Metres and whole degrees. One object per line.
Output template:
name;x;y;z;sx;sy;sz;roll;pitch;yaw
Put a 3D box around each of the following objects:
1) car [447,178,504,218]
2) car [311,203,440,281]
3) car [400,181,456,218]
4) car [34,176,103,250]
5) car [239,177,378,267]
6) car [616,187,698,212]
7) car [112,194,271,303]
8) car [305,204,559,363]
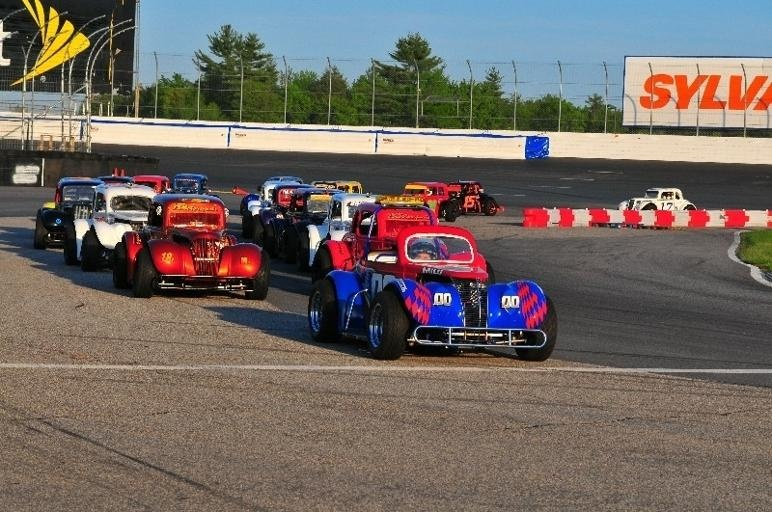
car;3.705;-2.424;50.775;2.179;1.045;1.264;4;-2;-24
car;-0.350;-0.407;27.230;1.517;1.389;2.824;-1;7;-18
car;1.930;-2.268;48.487;1.367;0.989;2.024;0;-2;28
car;-9.710;-1.285;35.732;1.607;1.468;2.956;0;2;-18
car;-2.309;-1.046;33.636;2.388;1.406;4.421;-1;5;-23
car;10.995;-2.596;48.818;2.891;1.329;1.571;2;0;-18
car;-4.451;-0.068;27.387;3.594;2.136;2.653;6;14;14
car;0.194;0.480;23.694;2.768;2.367;4.945;2;-2;-24
